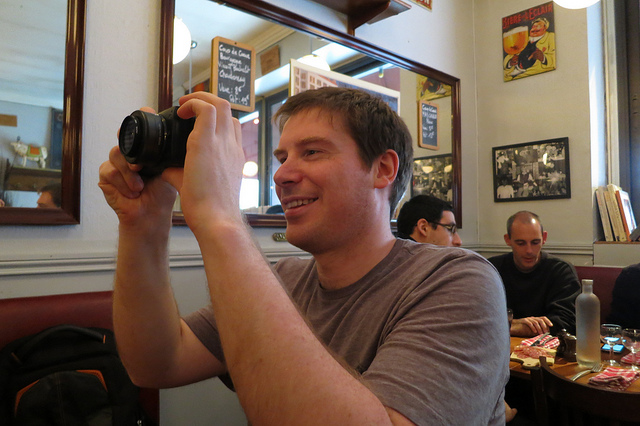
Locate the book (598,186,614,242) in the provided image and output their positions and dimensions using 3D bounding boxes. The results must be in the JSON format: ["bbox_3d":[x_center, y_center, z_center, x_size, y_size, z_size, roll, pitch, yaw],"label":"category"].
[{"bbox_3d":[2.271,-0.023,3.781,0.073,0.322,0.310,-11,-11,20],"label":"book"}]

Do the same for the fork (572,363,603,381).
[{"bbox_3d":[1.248,0.741,2.230,0.253,0.029,0.035,-12,13,-37],"label":"fork"}]

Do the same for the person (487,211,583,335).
[{"bbox_3d":[1.458,0.396,3.162,0.482,0.726,0.503,-10,-27,31],"label":"person"}]

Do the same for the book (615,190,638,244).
[{"bbox_3d":[2.471,0.018,3.847,0.086,0.390,0.383,-2,8,23],"label":"book"}]

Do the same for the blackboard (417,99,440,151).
[{"bbox_3d":[0.894,-0.724,3.951,0.281,0.399,0.037,-2,1,-41],"label":"blackboard"}]

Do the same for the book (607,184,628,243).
[{"bbox_3d":[2.336,-0.017,3.767,0.073,0.330,0.326,-6,10,22],"label":"book"}]

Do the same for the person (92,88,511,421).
[{"bbox_3d":[-0.060,0.117,1.689,1.366,0.839,0.711,-1,1,14],"label":"person"}]

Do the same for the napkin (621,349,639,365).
[{"bbox_3d":[1.536,0.710,2.374,0.070,0.022,0.070,-9,-7,38],"label":"napkin"}]

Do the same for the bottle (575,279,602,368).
[{"bbox_3d":[1.286,0.527,2.298,0.097,0.419,0.070,-1,1,20],"label":"bottle"}]

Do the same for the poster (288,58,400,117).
[{"bbox_3d":[0.190,-0.905,3.427,0.998,0.246,0.051,-2,1,-38],"label":"poster"}]
